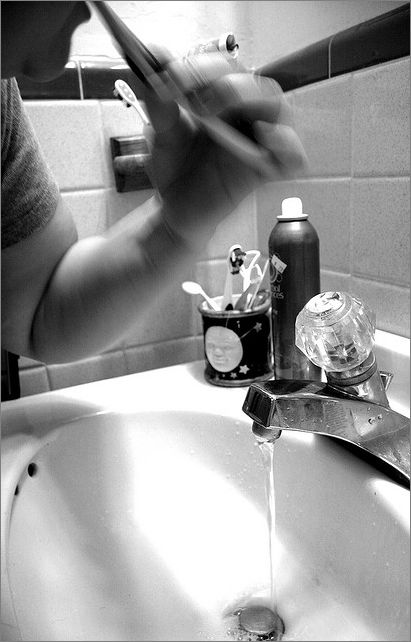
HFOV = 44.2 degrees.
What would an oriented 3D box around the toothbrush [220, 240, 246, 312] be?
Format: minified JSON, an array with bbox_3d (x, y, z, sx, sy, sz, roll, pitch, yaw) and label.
[{"bbox_3d":[0.033,-0.055,0.559,0.017,0.078,0.016,-2,57,-3],"label":"toothbrush"}]

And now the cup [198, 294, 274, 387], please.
[{"bbox_3d":[0.039,0.029,0.642,0.091,0.111,0.095,-4,15,1],"label":"cup"}]

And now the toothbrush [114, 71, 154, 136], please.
[{"bbox_3d":[-0.021,-0.059,0.136,0.005,0.006,0.028,-14,60,-18],"label":"toothbrush"}]
